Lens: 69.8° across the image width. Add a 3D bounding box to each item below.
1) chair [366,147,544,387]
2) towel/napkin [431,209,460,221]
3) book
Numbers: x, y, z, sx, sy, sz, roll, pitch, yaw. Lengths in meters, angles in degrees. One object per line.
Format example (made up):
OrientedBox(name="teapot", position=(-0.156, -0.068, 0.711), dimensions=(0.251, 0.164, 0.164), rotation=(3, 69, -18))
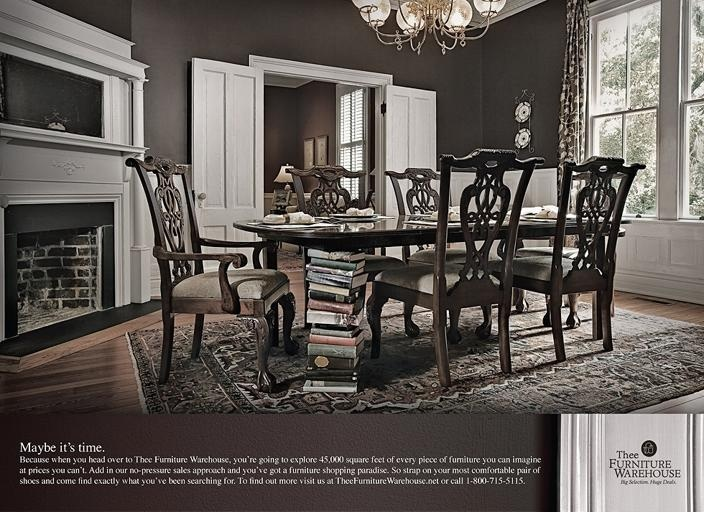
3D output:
OrientedBox(name="chair", position=(0.602, 0.016, 3.103), dimensions=(0.908, 1.295, 0.898), rotation=(0, 10, -3))
OrientedBox(name="towel/napkin", position=(0.556, -0.237, 2.949), dimensions=(0.152, 0.049, 0.147), rotation=(1, 1, -40))
OrientedBox(name="book", position=(-0.092, 0.351, 2.785), dimensions=(0.320, 0.755, 0.253), rotation=(0, 10, 1))
